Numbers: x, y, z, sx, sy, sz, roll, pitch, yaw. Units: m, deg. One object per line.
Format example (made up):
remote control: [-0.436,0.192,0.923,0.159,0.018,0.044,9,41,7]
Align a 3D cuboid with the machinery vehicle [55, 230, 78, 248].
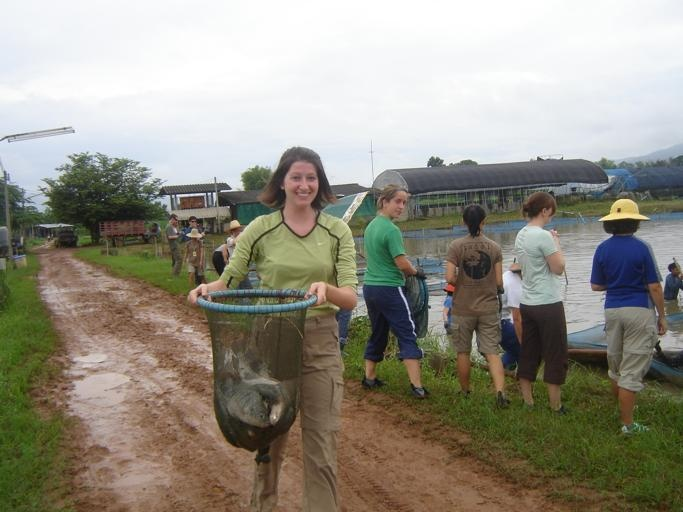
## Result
machinery vehicle: [-23.527,-1.477,48.702,1.353,1.251,2.351,0,-5,-33]

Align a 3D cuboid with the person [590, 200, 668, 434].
person: [2.989,0.575,5.847,0.553,2.267,0.840,-3,10,-4]

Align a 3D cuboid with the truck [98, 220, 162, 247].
truck: [-16.976,-1.863,45.794,4.341,1.895,6.630,-5,9,-16]

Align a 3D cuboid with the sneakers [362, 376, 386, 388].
sneakers: [0.418,1.619,7.301,0.299,0.135,0.113,0,-2,-7]

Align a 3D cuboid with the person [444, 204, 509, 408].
person: [1.602,0.559,6.633,0.720,2.283,0.649,1,11,19]

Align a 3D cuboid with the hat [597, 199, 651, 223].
hat: [3.008,-0.473,6.061,0.372,0.183,0.369,0,4,18]

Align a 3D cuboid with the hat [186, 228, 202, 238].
hat: [-3.544,-0.495,13.642,0.269,0.139,0.274,22,15,21]

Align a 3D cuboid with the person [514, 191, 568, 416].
person: [2.236,0.507,6.327,0.514,2.403,0.727,-5,10,-14]

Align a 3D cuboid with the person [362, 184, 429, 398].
person: [0.582,0.449,6.869,0.827,2.554,0.444,2,11,21]

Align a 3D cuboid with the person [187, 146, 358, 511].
person: [-0.372,0.700,4.617,1.010,3.120,0.905,-1,10,5]

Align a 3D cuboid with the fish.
fish: [-0.632,1.064,4.166,0.631,0.778,0.438,-3,10,-5]

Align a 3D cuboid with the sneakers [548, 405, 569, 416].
sneakers: [2.380,1.687,6.212,0.189,0.086,0.071,-2,7,-16]
